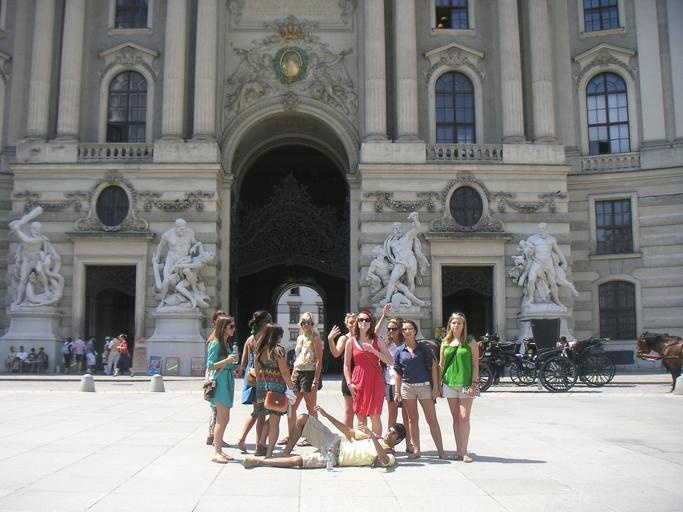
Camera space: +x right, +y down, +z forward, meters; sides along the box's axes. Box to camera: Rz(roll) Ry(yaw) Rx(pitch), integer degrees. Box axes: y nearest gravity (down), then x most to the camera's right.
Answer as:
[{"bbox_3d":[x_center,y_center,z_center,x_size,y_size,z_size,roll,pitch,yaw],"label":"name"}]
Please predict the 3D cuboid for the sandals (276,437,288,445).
[{"bbox_3d":[-1.375,4.297,19.940,0.415,0.148,0.132,0,-12,12],"label":"sandals"}]

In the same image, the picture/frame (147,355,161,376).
[{"bbox_3d":[-7.868,4.610,36.146,0.606,0.953,0.743,-2,-11,5],"label":"picture/frame"}]

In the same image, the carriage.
[{"bbox_3d":[6.236,3.435,30.750,7.071,2.121,3.009,1,-12,-3],"label":"carriage"}]

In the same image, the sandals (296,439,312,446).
[{"bbox_3d":[-0.853,4.331,19.923,0.424,0.150,0.146,1,-20,9],"label":"sandals"}]

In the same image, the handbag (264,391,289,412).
[{"bbox_3d":[-1.399,3.125,18.570,0.449,0.375,0.154,7,-5,-2],"label":"handbag"}]

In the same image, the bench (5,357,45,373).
[{"bbox_3d":[-13.318,4.593,36.470,1.578,0.644,0.515,2,-8,-18],"label":"bench"}]
